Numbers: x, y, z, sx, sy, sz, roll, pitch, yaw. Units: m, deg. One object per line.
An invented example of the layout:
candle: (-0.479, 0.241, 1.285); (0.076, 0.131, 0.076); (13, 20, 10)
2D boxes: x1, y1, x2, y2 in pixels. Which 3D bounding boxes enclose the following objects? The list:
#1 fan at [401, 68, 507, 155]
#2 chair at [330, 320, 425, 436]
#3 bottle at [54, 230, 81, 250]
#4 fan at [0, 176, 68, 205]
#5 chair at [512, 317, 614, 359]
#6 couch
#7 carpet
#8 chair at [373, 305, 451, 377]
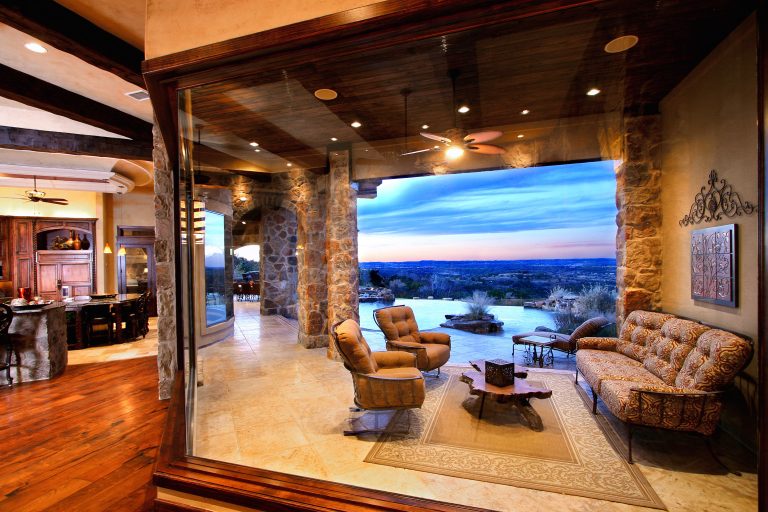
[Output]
fan: (0.536, -0.973, 3.276); (0.591, 0.377, 0.544); (8, -10, -29)
chair: (-0.009, 1.102, 4.172); (1.091, 0.795, 0.844); (3, 5, -22)
bottle: (-6.690, -0.321, 9.461); (0.571, 0.358, 0.198); (1, -6, -12)
fan: (-6.255, -1.068, 8.128); (0.839, 0.280, 0.747); (0, 2, 24)
chair: (1.481, 0.686, 3.817); (0.861, 0.355, 0.436); (0, -3, 22)
couch: (2.192, 0.934, 3.810); (0.928, 0.650, 1.593); (-8, 2, 7)
carpet: (0.856, 1.300, 3.146); (1.899, 0.306, 1.194); (2, 9, -11)
chair: (0.356, 0.986, 5.274); (0.908, 0.622, 0.706); (8, 11, 18)
